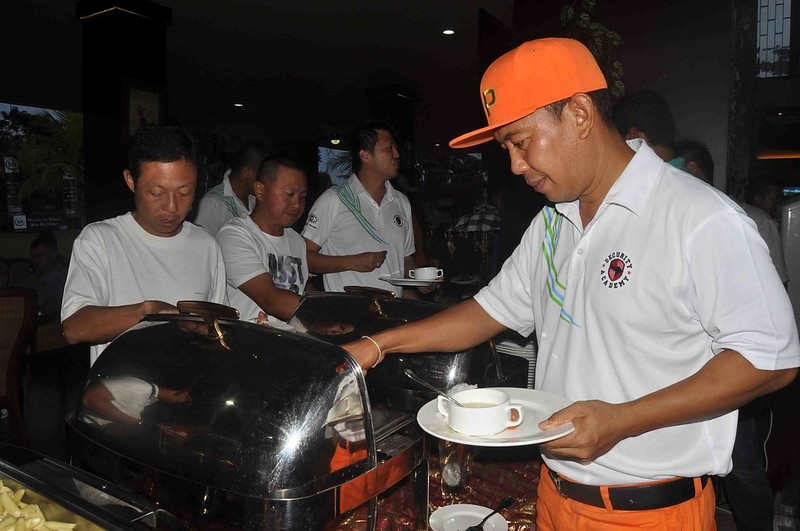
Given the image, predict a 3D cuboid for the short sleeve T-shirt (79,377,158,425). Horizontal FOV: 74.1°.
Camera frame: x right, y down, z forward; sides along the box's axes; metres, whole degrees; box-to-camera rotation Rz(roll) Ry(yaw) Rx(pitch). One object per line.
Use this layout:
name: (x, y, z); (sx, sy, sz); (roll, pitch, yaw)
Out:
short sleeve T-shirt: (-0.823, 0.393, 1.599); (0.231, 0.143, 0.258); (-1, -11, 2)

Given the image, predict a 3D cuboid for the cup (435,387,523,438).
cup: (0.220, 0.398, 1.488); (0.171, 0.069, 0.119); (-3, 5, 33)

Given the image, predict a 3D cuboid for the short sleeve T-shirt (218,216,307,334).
short sleeve T-shirt: (-0.754, 0.016, 3.027); (0.560, 0.602, 0.299); (-10, 41, -47)

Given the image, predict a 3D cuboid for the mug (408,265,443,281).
mug: (0.187, 0.053, 3.645); (0.171, 0.069, 0.118); (-3, -2, 10)

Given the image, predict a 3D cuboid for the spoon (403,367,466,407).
spoon: (0.104, 0.394, 1.669); (0.061, 0.045, 0.368); (-39, 20, -8)

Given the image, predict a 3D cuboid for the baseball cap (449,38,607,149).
baseball cap: (0.396, -0.585, 1.669); (0.390, 0.197, 0.253); (-25, 7, 3)

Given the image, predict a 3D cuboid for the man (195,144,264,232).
man: (-1.411, -0.602, 4.788); (0.393, 0.743, 0.732); (0, -2, 7)
